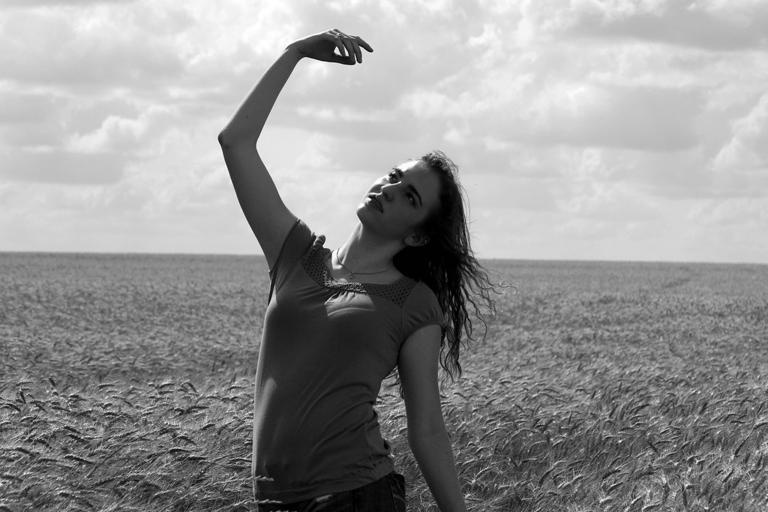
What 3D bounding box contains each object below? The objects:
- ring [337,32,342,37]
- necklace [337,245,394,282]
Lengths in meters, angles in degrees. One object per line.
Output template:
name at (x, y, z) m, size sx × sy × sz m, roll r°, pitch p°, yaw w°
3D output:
ring at (-0.233, -1.154, 3.494) m, size 0.016 × 0.014 × 0.043 m, roll -18°, pitch 23°, yaw -33°
necklace at (-0.081, 0.044, 3.556) m, size 0.252 × 0.206 × 0.317 m, roll 2°, pitch 0°, yaw 8°
